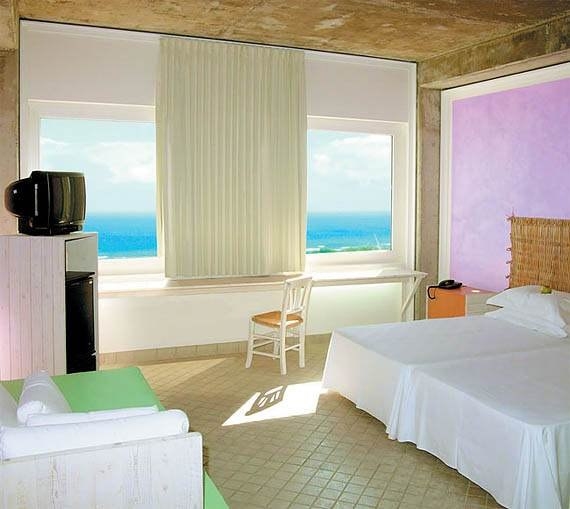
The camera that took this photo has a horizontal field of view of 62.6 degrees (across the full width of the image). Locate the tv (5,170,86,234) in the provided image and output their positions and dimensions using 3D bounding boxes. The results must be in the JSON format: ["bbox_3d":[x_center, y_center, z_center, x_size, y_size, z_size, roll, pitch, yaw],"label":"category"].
[{"bbox_3d":[-1.638,-0.361,3.362,0.422,0.532,0.621,3,3,5],"label":"tv"}]

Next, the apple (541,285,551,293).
[{"bbox_3d":[2.122,0.268,3.807,0.068,0.044,0.060,-4,8,-31],"label":"apple"}]

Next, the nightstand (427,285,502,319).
[{"bbox_3d":[1.776,0.457,4.846,0.591,0.353,0.653,-3,-2,-15],"label":"nightstand"}]

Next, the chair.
[{"bbox_3d":[-0.063,0.598,4.281,0.563,0.867,0.621,-1,7,-21],"label":"chair"}]
